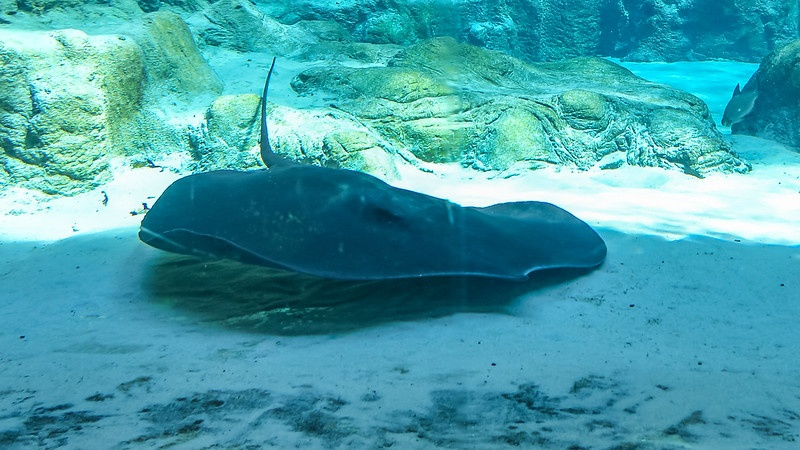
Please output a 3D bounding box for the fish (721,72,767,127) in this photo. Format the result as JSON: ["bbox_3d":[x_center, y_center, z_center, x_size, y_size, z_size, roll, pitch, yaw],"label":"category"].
[{"bbox_3d":[6.316,-2.296,12.640,1.500,0.671,0.216,-34,29,-20],"label":"fish"}]
